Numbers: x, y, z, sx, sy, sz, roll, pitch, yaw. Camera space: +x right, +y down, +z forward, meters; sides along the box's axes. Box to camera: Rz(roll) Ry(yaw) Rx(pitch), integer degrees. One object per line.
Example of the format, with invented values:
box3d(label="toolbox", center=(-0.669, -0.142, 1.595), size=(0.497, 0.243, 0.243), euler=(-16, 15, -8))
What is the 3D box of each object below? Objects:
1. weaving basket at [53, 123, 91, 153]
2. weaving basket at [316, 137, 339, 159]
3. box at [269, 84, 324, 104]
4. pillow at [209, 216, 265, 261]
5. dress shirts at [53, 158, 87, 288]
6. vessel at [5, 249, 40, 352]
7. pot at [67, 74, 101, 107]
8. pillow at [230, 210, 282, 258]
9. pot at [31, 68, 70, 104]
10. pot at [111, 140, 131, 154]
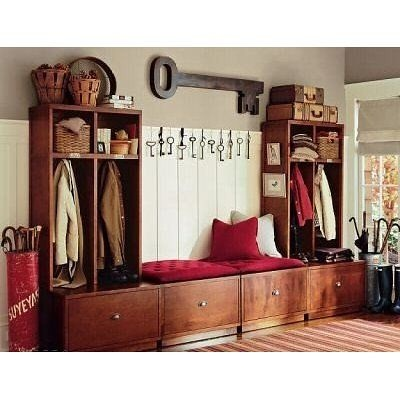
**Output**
box3d(label="weaving basket", center=(-1.142, -0.520, 3.554), size=(0.236, 0.209, 0.145), euler=(4, 7, -39))
box3d(label="weaving basket", center=(1.608, -0.647, 5.298), size=(0.248, 0.293, 0.267), euler=(0, 2, -12))
box3d(label="box", center=(1.087, -1.277, 5.042), size=(0.400, 0.170, 0.325), euler=(-5, 10, -36))
box3d(label="pillow", center=(0.365, 0.453, 4.485), size=(0.440, 0.507, 0.144), euler=(1, -18, 2))
box3d(label="dress shirts", center=(-1.157, 0.212, 3.540), size=(0.275, 1.066, 0.332), euler=(-4, 13, -21))
box3d(label="vessel", center=(-1.412, 0.815, 3.289), size=(0.250, 0.798, 0.170), euler=(-5, 13, -24))
box3d(label="pot", center=(-1.006, -0.946, 3.564), size=(0.243, 0.248, 0.250), euler=(0, -4, 0))
box3d(label="pillow", center=(0.709, 0.420, 4.926), size=(0.502, 0.596, 0.196), euler=(2, -19, -27))
box3d(label="pot", center=(-1.319, -0.984, 3.583), size=(0.311, 0.293, 0.128), euler=(3, 12, 10))
box3d(label="pot", center=(-0.751, -0.473, 3.797), size=(0.131, 0.093, 0.137), euler=(-1, 5, 0))
